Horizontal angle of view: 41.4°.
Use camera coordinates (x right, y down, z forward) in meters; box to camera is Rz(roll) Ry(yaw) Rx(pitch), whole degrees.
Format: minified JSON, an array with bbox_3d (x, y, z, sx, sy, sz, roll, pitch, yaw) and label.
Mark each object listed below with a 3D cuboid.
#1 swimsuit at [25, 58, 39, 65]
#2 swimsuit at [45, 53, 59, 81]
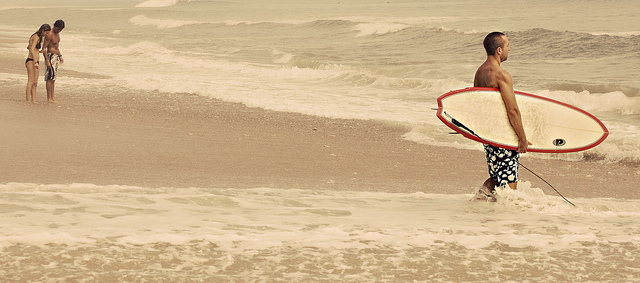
[{"bbox_3d":[-13.903,-3.875,41.140,0.547,0.244,0.464,9,14,31],"label":"swimsuit"},{"bbox_3d":[-13.096,-3.653,41.579,0.516,1.364,0.657,4,16,-6],"label":"swimsuit"}]
